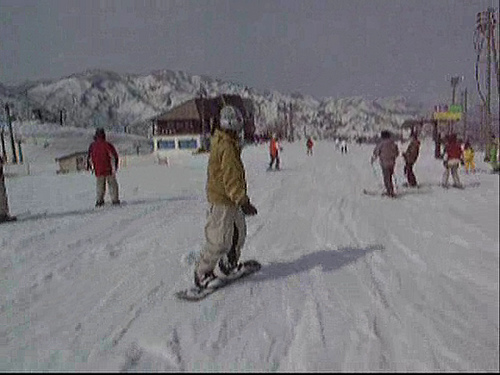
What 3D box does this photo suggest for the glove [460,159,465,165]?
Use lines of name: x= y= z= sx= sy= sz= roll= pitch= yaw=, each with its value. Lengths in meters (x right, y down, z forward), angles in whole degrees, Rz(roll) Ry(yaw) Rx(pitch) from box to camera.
glove: x=10.291 y=-1.241 z=24.359 sx=0.162 sy=0.389 sz=0.201 roll=2 pitch=0 yaw=11

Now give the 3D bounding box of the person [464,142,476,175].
person: x=9.526 y=-1.288 z=21.793 sx=0.488 sy=1.410 sz=1.880 roll=6 pitch=16 yaw=24

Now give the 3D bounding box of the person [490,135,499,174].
person: x=10.667 y=-1.368 z=21.867 sx=0.318 sy=0.933 sz=2.891 roll=6 pitch=18 yaw=24

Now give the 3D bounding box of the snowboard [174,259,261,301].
snowboard: x=-0.607 y=1.862 z=9.802 sx=2.057 sy=0.130 sz=0.649 roll=-25 pitch=41 yaw=-35

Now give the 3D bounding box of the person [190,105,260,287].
person: x=-0.440 y=0.162 z=9.660 sx=1.047 sy=3.399 sz=1.021 roll=1 pitch=12 yaw=4

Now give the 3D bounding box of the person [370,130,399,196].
person: x=4.425 y=-0.829 z=16.404 sx=0.787 sy=2.302 sz=1.588 roll=4 pitch=14 yaw=18

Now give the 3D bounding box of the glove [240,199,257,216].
glove: x=-0.029 y=0.394 z=9.271 sx=0.205 sy=0.283 sz=0.106 roll=-32 pitch=15 yaw=31

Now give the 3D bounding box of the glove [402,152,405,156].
glove: x=5.276 y=-1.144 z=17.230 sx=0.042 sy=0.137 sz=0.219 roll=6 pitch=17 yaw=27
